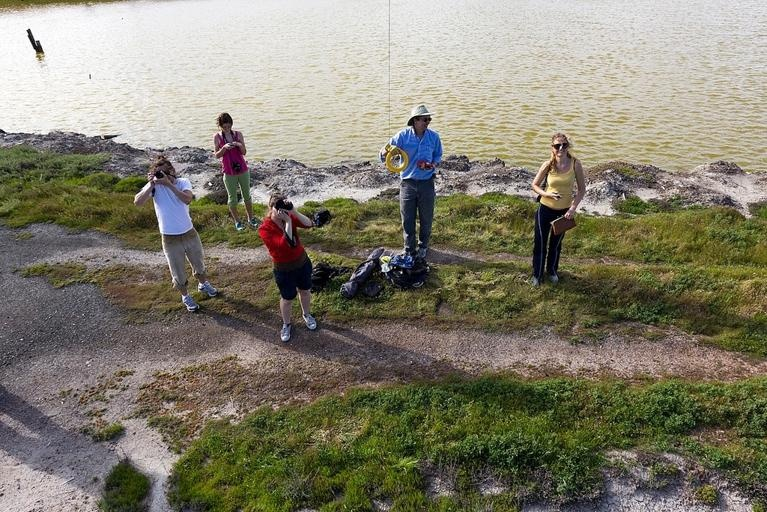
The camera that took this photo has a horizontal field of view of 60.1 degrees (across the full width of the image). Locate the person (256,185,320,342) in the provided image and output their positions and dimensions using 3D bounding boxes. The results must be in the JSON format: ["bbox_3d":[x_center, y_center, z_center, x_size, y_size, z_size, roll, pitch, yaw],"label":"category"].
[{"bbox_3d":[-2.174,0.286,15.871,1.084,3.520,1.076,-3,28,7],"label":"person"}]

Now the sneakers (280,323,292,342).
[{"bbox_3d":[-2.359,1.874,16.287,0.205,0.204,0.483,-3,31,-3],"label":"sneakers"}]

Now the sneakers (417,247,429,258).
[{"bbox_3d":[1.078,-0.102,17.992,0.244,0.256,0.608,-1,6,8],"label":"sneakers"}]

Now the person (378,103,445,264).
[{"bbox_3d":[0.858,-1.813,17.425,1.228,4.052,0.944,-17,30,-19],"label":"person"}]

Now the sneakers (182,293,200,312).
[{"bbox_3d":[-4.917,1.212,17.065,0.593,0.260,0.273,27,48,18],"label":"sneakers"}]

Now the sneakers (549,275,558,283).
[{"bbox_3d":[4.386,0.587,17.052,0.191,0.092,0.303,2,3,12],"label":"sneakers"}]

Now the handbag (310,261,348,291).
[{"bbox_3d":[-1.425,0.474,17.455,0.838,0.715,0.390,-39,40,23],"label":"handbag"}]

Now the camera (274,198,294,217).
[{"bbox_3d":[-2.271,-1.162,15.396,0.344,0.313,0.137,-10,10,-1],"label":"camera"}]

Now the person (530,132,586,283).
[{"bbox_3d":[4.362,-1.166,16.645,1.192,3.674,1.293,2,29,14],"label":"person"}]

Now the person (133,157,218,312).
[{"bbox_3d":[-5.096,-0.509,16.665,1.160,3.801,1.164,-15,29,-16],"label":"person"}]

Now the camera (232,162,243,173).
[{"bbox_3d":[-4.082,-2.502,18.662,0.266,0.199,0.121,28,16,9],"label":"camera"}]

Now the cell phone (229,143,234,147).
[{"bbox_3d":[-4.172,-3.086,18.376,0.089,0.021,0.089,-17,50,-20],"label":"cell phone"}]

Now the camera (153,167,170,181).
[{"bbox_3d":[-5.342,-1.972,16.155,0.298,0.308,0.311,-22,10,-10],"label":"camera"}]

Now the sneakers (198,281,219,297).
[{"bbox_3d":[-4.562,0.865,17.476,0.608,0.279,0.272,19,47,7],"label":"sneakers"}]
